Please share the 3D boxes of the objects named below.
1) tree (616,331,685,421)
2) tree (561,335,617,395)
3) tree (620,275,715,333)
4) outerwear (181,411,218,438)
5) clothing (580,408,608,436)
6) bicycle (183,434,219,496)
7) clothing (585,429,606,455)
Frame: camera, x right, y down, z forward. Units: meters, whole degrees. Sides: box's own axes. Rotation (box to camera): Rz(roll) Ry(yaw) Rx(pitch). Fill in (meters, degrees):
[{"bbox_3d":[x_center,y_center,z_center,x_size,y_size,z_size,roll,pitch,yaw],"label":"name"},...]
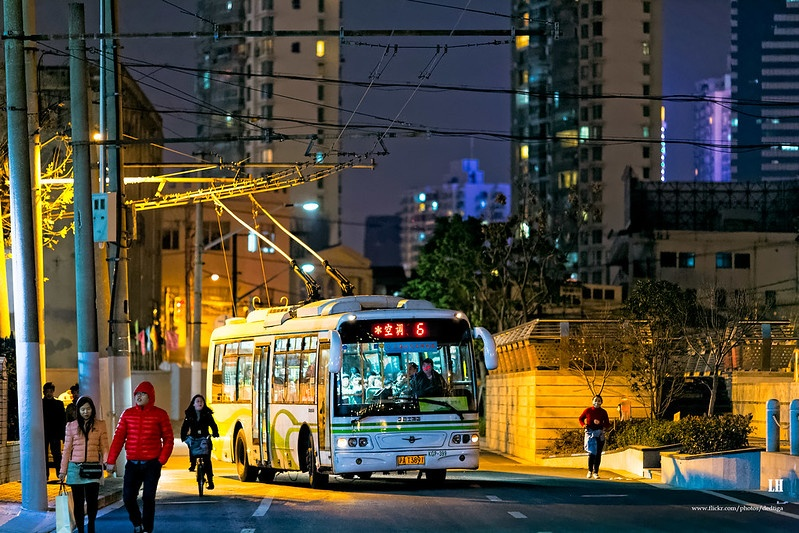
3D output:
[{"bbox_3d":[9.713,3.937,50.244,2.114,3.549,6.738,-4,-5,13],"label":"tree"},{"bbox_3d":[7.120,3.744,49.029,2.265,2.532,1.998,-5,-16,8],"label":"tree"},{"bbox_3d":[9.669,1.488,50.497,3.371,2.235,2.616,2,-2,-43],"label":"tree"},{"bbox_3d":[-5.389,4.320,35.778,1.024,0.806,0.432,2,-18,-13],"label":"outerwear"},{"bbox_3d":[5.710,4.569,39.101,1.028,0.980,0.599,0,-11,-3],"label":"clothing"},{"bbox_3d":[-5.248,5.265,34.958,0.678,1.537,1.947,-2,-5,-9],"label":"bicycle"},{"bbox_3d":[5.719,5.183,38.857,0.627,0.763,0.346,-1,-5,-25],"label":"clothing"}]
